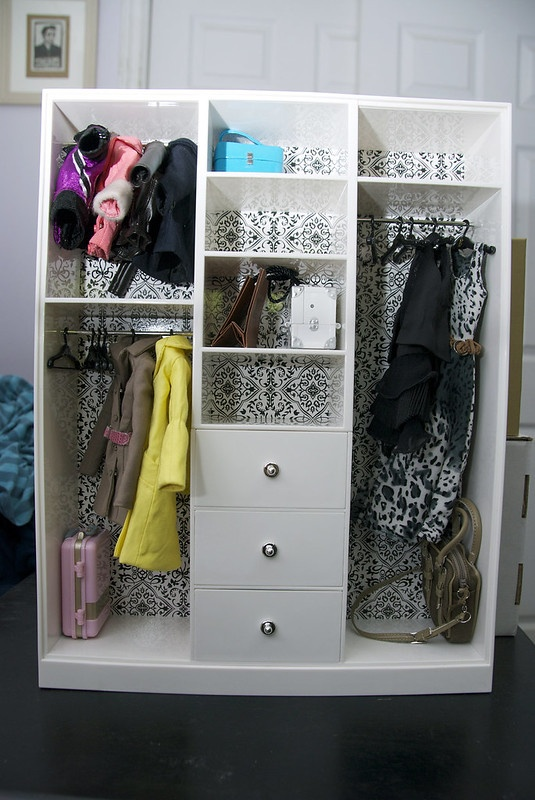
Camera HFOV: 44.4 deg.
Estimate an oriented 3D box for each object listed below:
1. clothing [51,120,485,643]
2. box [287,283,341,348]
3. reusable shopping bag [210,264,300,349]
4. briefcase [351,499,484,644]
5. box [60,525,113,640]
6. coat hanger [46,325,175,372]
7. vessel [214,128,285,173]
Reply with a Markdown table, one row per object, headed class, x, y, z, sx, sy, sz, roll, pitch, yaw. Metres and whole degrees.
| class | x | y | z | sx | sy | sz | roll | pitch | yaw |
| --- | --- | --- | --- | --- | --- | --- | --- | --- | --- |
| clothing | -0.014 | -0.105 | 2.391 | 1.831 | 2.169 | 0.690 | 0 | -3 | -3 |
| box | 0.165 | -0.284 | 2.366 | 0.165 | 0.232 | 0.133 | 0 | -2 | -3 |
| reusable shopping bag | -0.054 | -0.336 | 2.384 | 0.109 | 0.365 | 0.264 | 24 | 8 | 19 |
| briefcase | 0.508 | 0.648 | 2.643 | 0.511 | 0.576 | 0.497 | -4 | 31 | -3 |
| box | -0.682 | 0.686 | 2.437 | 0.154 | 0.414 | 0.415 | 0 | 0 | -1 |
| coat hanger | -0.590 | -0.187 | 2.489 | 0.543 | 0.198 | 0.167 | 1 | 1 | 1 |
| vessel | -0.075 | -0.861 | 2.315 | 0.193 | 0.125 | 0.198 | -1 | 16 | -12 |
